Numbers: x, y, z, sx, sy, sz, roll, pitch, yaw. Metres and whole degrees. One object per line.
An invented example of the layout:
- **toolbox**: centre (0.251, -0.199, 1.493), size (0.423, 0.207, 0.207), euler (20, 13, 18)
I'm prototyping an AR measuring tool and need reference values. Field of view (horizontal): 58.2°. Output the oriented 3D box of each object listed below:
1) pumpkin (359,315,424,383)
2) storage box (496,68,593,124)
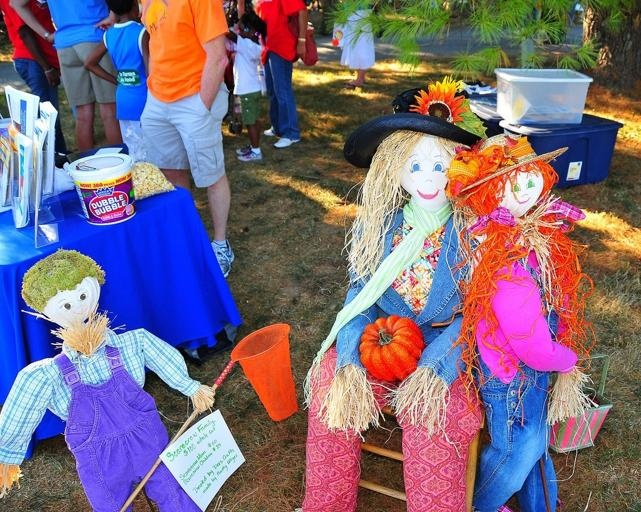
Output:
- **pumpkin**: centre (0.282, 0.373, 2.334), size (0.242, 0.193, 0.192), euler (-1, 24, 3)
- **storage box**: centre (1.730, -1.271, 4.540), size (0.726, 0.339, 0.503), euler (-1, 26, 0)
